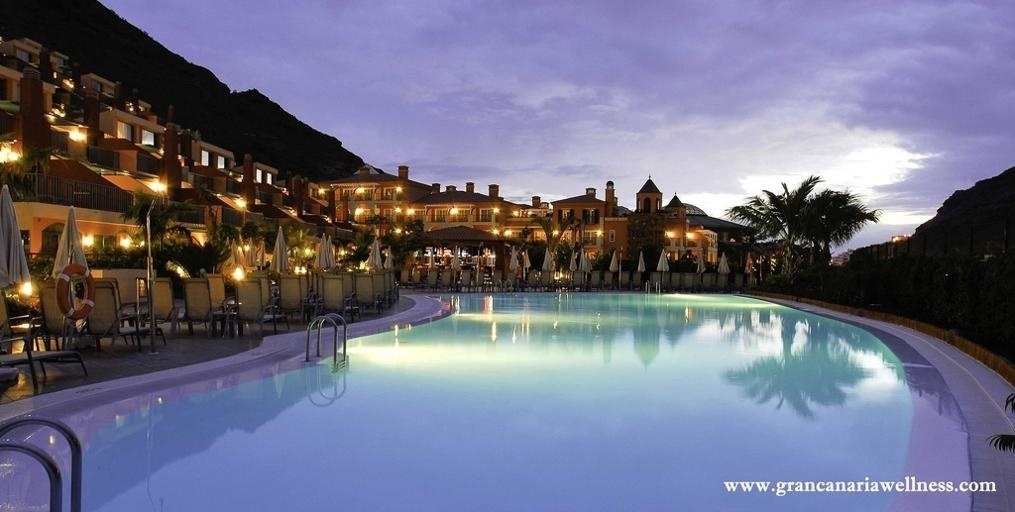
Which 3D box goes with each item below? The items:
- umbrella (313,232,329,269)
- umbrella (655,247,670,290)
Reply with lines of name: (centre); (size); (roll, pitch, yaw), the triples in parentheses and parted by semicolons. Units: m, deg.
umbrella: (-9.171, -0.254, 31.571); (0.664, 1.658, 0.926); (-1, 4, -16)
umbrella: (10.927, 0.995, 45.502); (0.818, 2.739, 2.341); (1, 4, 13)
